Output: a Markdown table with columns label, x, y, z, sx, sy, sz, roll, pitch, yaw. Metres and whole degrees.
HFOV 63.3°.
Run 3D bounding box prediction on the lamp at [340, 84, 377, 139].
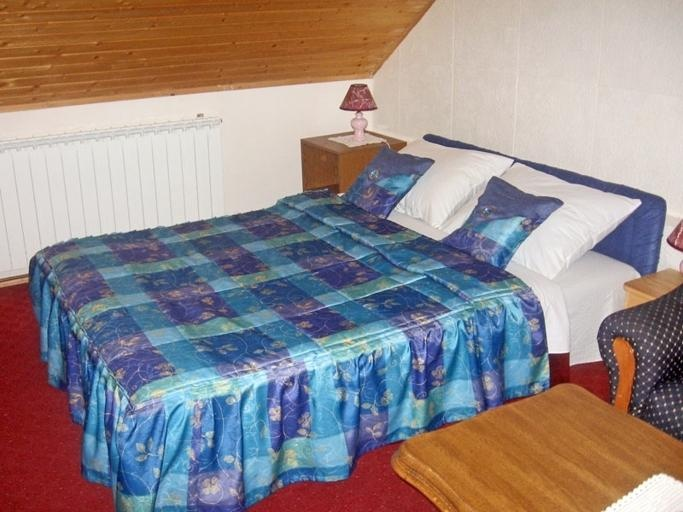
| label | x | y | z | sx | sy | sz | roll | pitch | yaw |
| --- | --- | --- | --- | --- | --- | --- | --- | --- | --- |
| lamp | 0.132 | -1.202 | 4.498 | 0.261 | 0.432 | 0.231 | -1 | 23 | -6 |

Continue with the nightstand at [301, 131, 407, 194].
| label | x | y | z | sx | sy | sz | roll | pitch | yaw |
| --- | --- | --- | --- | --- | --- | --- | --- | --- | --- |
| nightstand | 0.102 | -0.856 | 4.650 | 0.628 | 0.703 | 0.744 | -13 | 26 | -28 |
